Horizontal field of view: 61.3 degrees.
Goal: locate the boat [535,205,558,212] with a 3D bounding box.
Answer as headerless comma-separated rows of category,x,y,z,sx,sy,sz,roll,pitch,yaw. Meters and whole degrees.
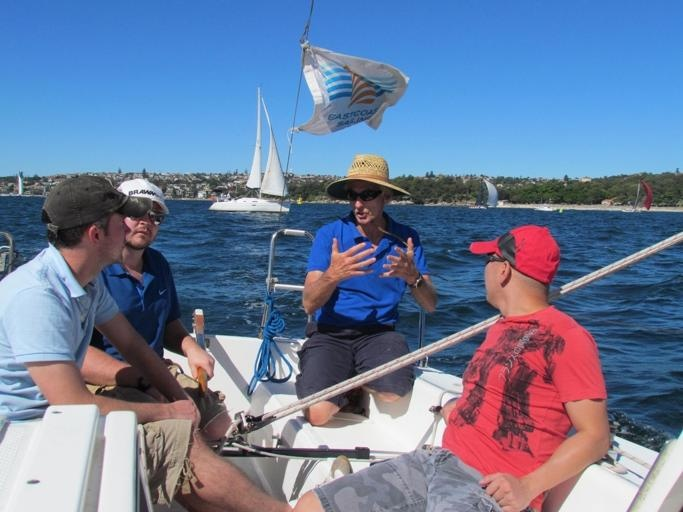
boat,26.730,-6.377,75.228,1.940,0.859,2.650,3,7,6

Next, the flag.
flag,0.080,-1.210,4.166,0.835,0.610,0.284,-7,10,-30

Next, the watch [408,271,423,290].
watch,0.422,0.136,3.245,0.090,0.046,0.087,-47,13,-8

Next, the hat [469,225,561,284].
hat,0.713,-0.033,2.358,0.312,0.166,0.207,31,18,35

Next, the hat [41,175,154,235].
hat,-0.942,-0.208,2.206,0.318,0.165,0.198,-6,17,-28

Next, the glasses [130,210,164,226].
glasses,-1.030,-0.207,3.079,0.153,0.042,0.147,4,3,20
